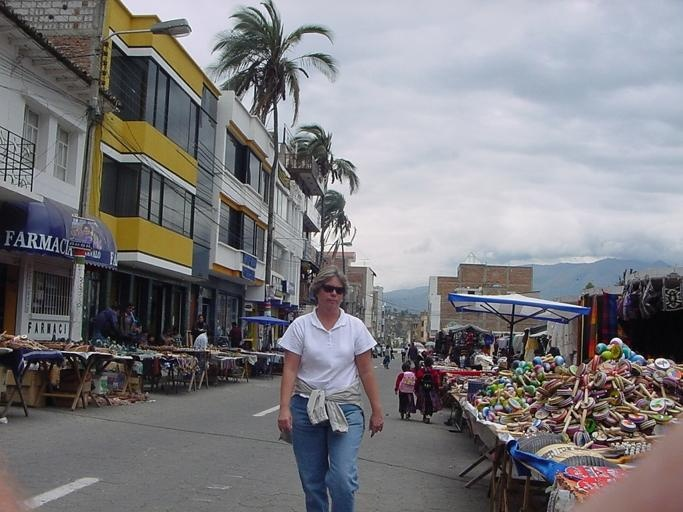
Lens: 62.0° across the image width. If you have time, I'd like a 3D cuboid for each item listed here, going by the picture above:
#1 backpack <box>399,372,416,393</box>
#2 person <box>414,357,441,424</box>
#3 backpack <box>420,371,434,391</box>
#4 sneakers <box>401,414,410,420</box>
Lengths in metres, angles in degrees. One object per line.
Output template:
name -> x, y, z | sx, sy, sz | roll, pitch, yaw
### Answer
backpack -> 1.850, 3.531, 15.849 | 0.461, 0.575, 0.419 | -3, -10, 16
person -> 2.424, 3.696, 15.841 | 0.600, 1.749, 0.921 | -6, -11, 34
backpack -> 2.402, 3.470, 15.759 | 0.294, 0.453, 0.424 | 1, -13, 2
sneakers -> 1.792, 4.483, 15.860 | 0.105, 0.225, 0.328 | 1, -24, -7
